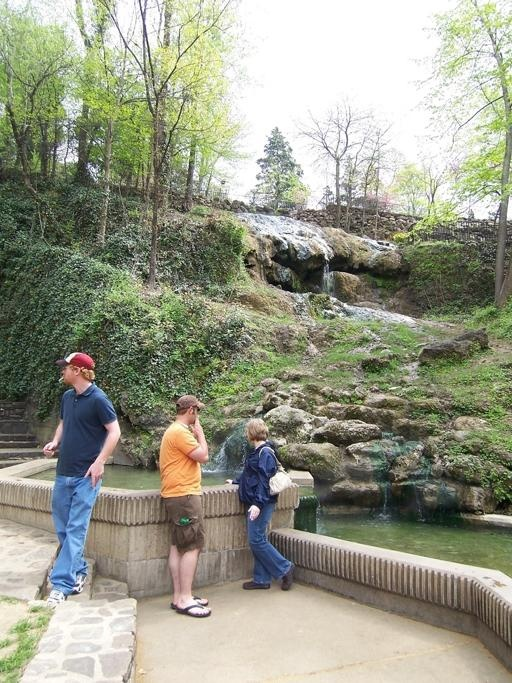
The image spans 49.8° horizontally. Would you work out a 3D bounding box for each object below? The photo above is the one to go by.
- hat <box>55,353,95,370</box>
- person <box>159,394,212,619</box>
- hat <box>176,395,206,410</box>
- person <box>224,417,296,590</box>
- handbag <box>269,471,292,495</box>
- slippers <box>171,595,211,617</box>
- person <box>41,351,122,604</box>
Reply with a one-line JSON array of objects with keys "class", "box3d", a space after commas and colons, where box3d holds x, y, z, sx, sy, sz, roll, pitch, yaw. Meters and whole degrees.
[{"class": "hat", "box3d": [-1.383, 0.151, 4.174, 0.263, 0.132, 0.157, 9, -6, -1]}, {"class": "person", "box3d": [-0.537, 1.286, 4.381, 0.395, 1.706, 0.624, 3, 0, -31]}, {"class": "hat", "box3d": [-0.532, 0.496, 4.531, 0.200, 0.094, 0.127, 2, 4, -32]}, {"class": "person", "box3d": [0.102, 1.457, 4.898, 0.526, 1.505, 0.606, 4, 0, -5]}, {"class": "handbag", "box3d": [0.206, 1.259, 4.860, 0.134, 0.217, 0.233, 3, 0, 19]}, {"class": "slippers", "box3d": [-0.509, 2.012, 4.236, 0.256, 0.081, 0.145, -10, -11, 41]}, {"class": "person", "box3d": [-1.258, 0.954, 4.022, 0.448, 1.775, 0.631, 3, 0, -20]}]
